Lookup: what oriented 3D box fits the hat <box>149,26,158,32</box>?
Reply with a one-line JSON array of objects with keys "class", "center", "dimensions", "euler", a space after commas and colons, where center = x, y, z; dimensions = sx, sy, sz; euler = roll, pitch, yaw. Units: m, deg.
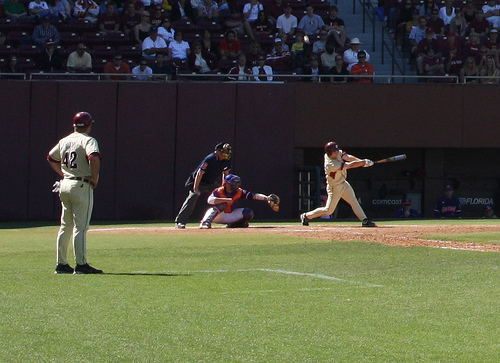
[{"class": "hat", "center": [-3.261, -5.088, 32.329], "dimensions": [0.279, 0.165, 0.273], "euler": [-2, 8, -15]}]

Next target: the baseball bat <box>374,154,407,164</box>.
[{"class": "baseball bat", "center": [4.549, -0.727, 31.388], "dimensions": [1.186, 0.166, 0.164], "euler": [-13, 22, -9]}]

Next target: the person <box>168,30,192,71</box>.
[{"class": "person", "center": [-2.348, -4.453, 32.395], "dimensions": [0.806, 1.218, 1.045], "euler": [0, -1, -8]}]

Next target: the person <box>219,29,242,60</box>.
[{"class": "person", "center": [-0.686, -4.559, 32.360], "dimensions": [0.728, 0.917, 0.717], "euler": [0, 12, -2]}]

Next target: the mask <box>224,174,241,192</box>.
[{"class": "mask", "center": [-0.490, 0.060, 26.387], "dimensions": [0.442, 0.411, 0.349], "euler": [-6, 14, -1]}]

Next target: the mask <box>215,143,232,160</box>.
[{"class": "mask", "center": [-0.710, -0.778, 25.843], "dimensions": [0.402, 0.385, 0.336], "euler": [-6, 14, 6]}]

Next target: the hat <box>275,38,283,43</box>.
[{"class": "hat", "center": [0.953, -4.691, 32.392], "dimensions": [0.321, 0.151, 0.476], "euler": [3, 1, 5]}]

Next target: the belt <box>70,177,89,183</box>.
[{"class": "belt", "center": [-3.422, -0.012, 19.295], "dimensions": [0.350, 0.111, 0.046], "euler": [1, 12, -1]}]

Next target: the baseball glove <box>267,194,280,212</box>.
[{"class": "baseball glove", "center": [0.633, 0.625, 26.099], "dimensions": [0.254, 0.207, 0.492], "euler": [-9, 41, -14]}]

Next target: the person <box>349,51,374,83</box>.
[{"class": "person", "center": [3.631, -3.689, 31.347], "dimensions": [0.790, 1.003, 0.954], "euler": [2, 12, 6]}]

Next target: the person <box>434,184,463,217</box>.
[{"class": "person", "center": [6.317, 0.799, 30.613], "dimensions": [0.902, 1.350, 0.749], "euler": [-1, 10, -5]}]

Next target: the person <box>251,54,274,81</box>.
[{"class": "person", "center": [0.418, -3.690, 31.521], "dimensions": [0.703, 0.784, 1.348], "euler": [1, 12, 0]}]

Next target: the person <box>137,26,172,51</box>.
[{"class": "person", "center": [-3.259, -4.987, 32.490], "dimensions": [1.335, 1.126, 0.757], "euler": [-2, 14, -14]}]
